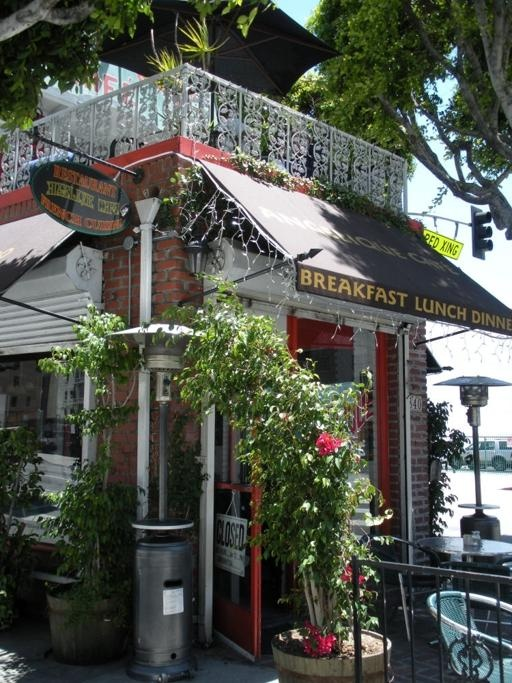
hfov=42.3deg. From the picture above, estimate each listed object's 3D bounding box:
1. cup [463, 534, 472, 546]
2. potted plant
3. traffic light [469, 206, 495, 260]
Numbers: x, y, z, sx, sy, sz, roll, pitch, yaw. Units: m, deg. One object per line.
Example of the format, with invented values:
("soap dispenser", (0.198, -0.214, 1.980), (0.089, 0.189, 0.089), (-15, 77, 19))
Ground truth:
("cup", (1.921, 1.818, 6.013), (0.055, 0.107, 0.101), (3, -2, -30))
("potted plant", (-1.334, 1.155, 5.146), (0.758, 2.655, 0.736), (1, -5, 5))
("traffic light", (3.388, -1.676, 10.009), (0.294, 0.857, 0.395), (0, -5, 16))
